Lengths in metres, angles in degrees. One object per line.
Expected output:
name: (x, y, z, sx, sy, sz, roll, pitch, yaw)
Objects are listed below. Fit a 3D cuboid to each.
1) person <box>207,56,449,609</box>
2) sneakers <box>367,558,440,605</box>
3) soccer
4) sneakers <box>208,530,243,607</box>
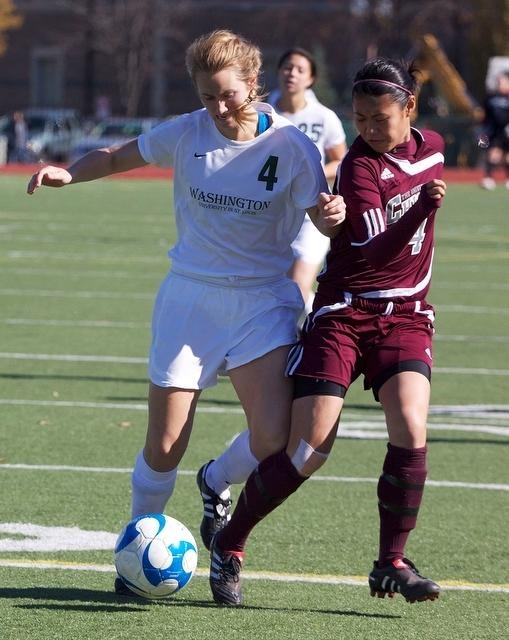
person: (0.325, 0.056, 2.903, 0.755, 1.806, 0.692, 6, 10, 12)
sneakers: (0.467, 0.794, 2.712, 0.109, 0.109, 0.281, 7, -12, -33)
soccer: (-0.309, 0.774, 2.909, 0.292, 0.245, 0.253, 0, 8, -15)
sneakers: (-0.082, 0.831, 2.909, 0.080, 0.193, 0.101, -2, -18, -39)
